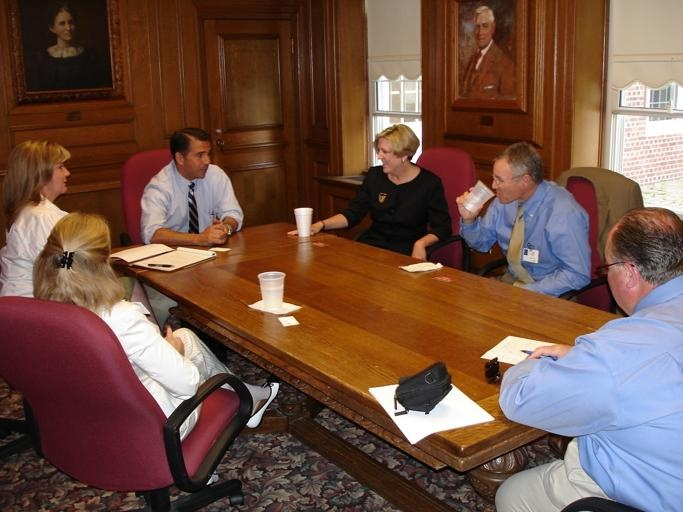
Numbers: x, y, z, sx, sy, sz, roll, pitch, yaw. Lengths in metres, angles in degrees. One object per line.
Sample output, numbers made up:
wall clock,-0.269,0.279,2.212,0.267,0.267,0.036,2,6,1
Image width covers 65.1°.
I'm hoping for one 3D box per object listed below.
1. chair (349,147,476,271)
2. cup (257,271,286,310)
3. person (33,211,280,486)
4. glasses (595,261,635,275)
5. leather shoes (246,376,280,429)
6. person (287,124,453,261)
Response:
chair,0.556,-0.279,3.743,0.479,0.857,0.475,-7,21,-25
cup,-0.293,0.144,2.346,0.141,0.149,0.140,-2,6,0
person,-0.715,0.354,2.138,0.566,1.072,0.882,-5,16,25
glasses,0.812,0.038,1.588,0.053,0.015,0.053,-14,17,-27
leather shoes,-0.388,0.706,2.547,0.123,0.091,0.325,-7,33,20
person,0.276,-0.193,3.825,1.011,1.360,0.598,3,16,23
